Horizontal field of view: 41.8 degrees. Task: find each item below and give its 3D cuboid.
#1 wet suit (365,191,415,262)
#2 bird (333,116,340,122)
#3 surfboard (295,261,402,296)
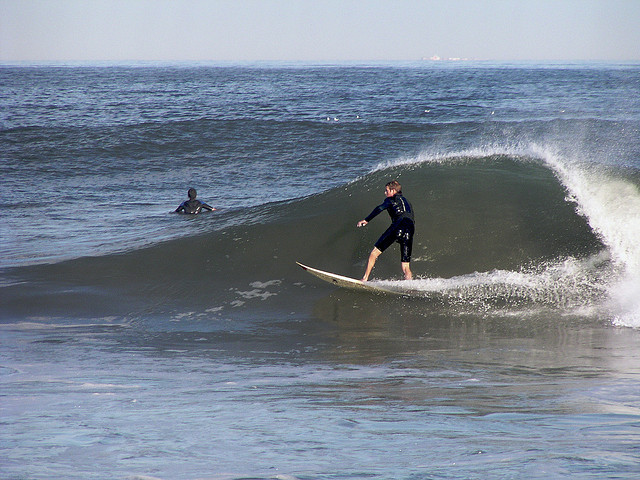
[{"bbox_3d":[1.228,-0.218,14.358,0.725,1.201,0.333,-1,13,-6],"label":"wet suit"},{"bbox_3d":[0.656,-5.002,34.606,0.196,0.168,0.511,-3,-5,-1],"label":"bird"},{"bbox_3d":[0.377,0.763,14.596,0.196,0.263,2.564,23,-1,33],"label":"surfboard"}]
